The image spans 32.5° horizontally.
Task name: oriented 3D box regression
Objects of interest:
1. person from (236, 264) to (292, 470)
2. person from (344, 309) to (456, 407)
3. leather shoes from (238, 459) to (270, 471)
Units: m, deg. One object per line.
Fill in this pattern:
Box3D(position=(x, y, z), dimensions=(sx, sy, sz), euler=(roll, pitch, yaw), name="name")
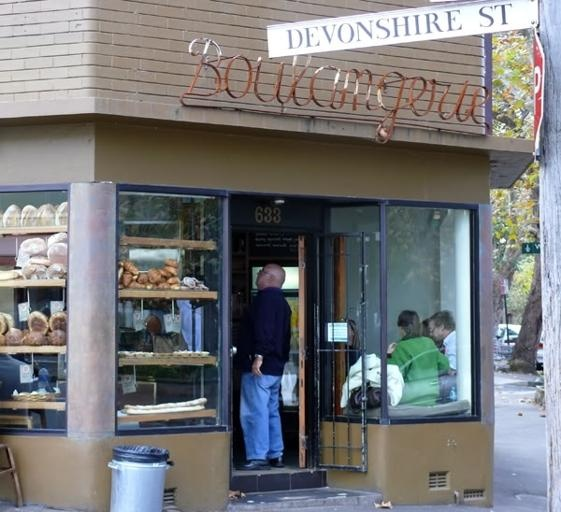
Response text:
Box3D(position=(-0.152, 1.140, 10.142), dimensions=(0.562, 2.139, 0.541), euler=(-1, -5, -2), name="person")
Box3D(position=(1.283, 1.074, 10.072), dimensions=(1.175, 0.999, 0.321), euler=(0, -5, -23), name="person")
Box3D(position=(-0.237, 2.132, 9.841), dimensions=(0.252, 0.128, 0.117), euler=(4, -10, -3), name="leather shoes")
